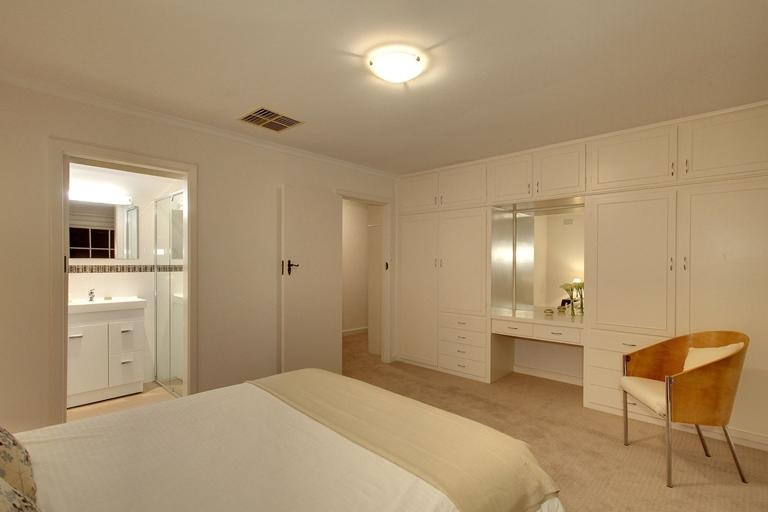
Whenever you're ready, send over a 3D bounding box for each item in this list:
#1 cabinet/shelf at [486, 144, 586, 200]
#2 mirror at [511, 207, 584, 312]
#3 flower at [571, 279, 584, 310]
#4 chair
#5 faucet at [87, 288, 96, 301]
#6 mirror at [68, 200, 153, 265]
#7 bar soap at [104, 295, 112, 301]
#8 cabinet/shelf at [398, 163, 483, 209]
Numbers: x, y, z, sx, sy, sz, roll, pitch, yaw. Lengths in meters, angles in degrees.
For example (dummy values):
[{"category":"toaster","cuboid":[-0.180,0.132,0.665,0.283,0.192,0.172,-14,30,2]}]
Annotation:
[{"category":"cabinet/shelf","cuboid":[1.768,-0.996,5.952,1.112,0.560,0.376,-6,27,13]},{"category":"mirror","cuboid":[2.003,0.041,6.182,0.850,1.278,0.082,0,0,44]},{"category":"flower","cuboid":[2.257,0.449,5.862,0.105,0.389,0.202,0,0,18]},{"category":"chair","cuboid":[2.699,1.309,4.515,0.909,1.423,0.720,1,0,-9]},{"category":"faucet","cuboid":[-3.320,0.443,5.724,0.067,0.126,0.060,1,0,-31]},{"category":"mirror","cuboid":[-3.196,-0.285,5.808,0.788,0.736,0.230,0,1,-40]},{"category":"bar soap","cuboid":[-3.186,0.477,5.807,0.084,0.051,0.069,1,-1,-31]},{"category":"cabinet/shelf","cuboid":[0.818,-0.852,6.767,1.404,0.531,0.299,3,9,40]}]
